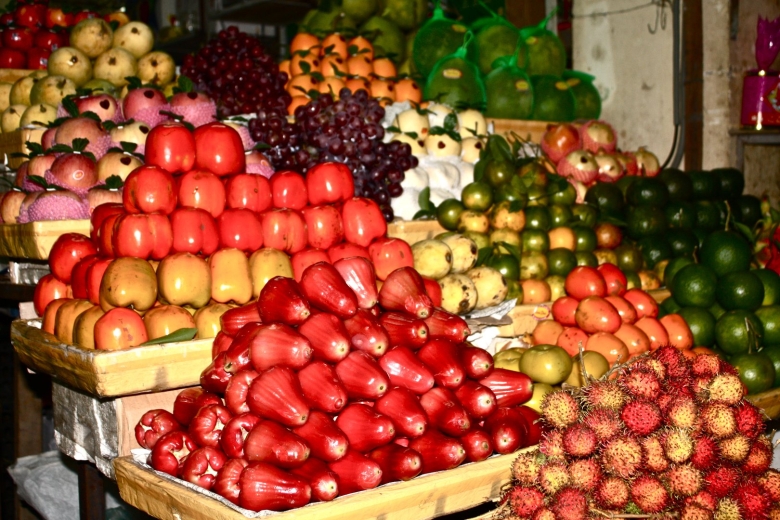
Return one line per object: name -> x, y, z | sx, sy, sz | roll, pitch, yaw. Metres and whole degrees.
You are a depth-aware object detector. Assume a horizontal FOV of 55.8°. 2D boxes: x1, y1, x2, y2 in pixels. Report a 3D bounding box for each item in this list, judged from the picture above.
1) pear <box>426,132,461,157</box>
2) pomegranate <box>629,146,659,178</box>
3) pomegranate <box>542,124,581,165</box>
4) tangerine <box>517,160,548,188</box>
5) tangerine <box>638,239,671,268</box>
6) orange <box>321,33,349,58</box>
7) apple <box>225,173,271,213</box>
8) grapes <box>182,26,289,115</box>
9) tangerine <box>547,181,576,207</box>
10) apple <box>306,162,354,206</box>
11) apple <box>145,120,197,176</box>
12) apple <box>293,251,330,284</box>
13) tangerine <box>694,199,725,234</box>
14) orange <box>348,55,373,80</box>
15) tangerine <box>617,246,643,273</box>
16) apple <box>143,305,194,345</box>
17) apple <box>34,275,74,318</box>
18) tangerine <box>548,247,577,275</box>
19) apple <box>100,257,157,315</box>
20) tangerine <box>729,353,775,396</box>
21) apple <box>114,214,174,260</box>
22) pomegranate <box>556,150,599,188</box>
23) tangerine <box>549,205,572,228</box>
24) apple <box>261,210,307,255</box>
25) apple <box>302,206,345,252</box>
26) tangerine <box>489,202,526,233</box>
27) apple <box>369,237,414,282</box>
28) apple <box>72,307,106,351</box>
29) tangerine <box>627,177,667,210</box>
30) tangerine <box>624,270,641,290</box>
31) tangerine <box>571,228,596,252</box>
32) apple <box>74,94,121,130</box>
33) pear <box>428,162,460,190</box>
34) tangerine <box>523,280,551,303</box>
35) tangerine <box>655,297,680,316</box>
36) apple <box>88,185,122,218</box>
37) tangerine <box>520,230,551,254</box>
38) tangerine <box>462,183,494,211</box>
pear -> 0.299, -0.644, 4.173 | 0.137, 0.114, 0.141 | 17, 6, 40
pomegranate -> 1.569, -0.582, 4.539 | 0.167, 0.219, 0.174 | -14, 0, 13
pomegranate -> 0.999, -0.702, 4.425 | 0.219, 0.259, 0.253 | 4, 40, 5
tangerine -> 0.774, -0.456, 3.953 | 0.141, 0.184, 0.152 | -4, 8, 23
tangerine -> 1.393, -0.017, 3.927 | 0.143, 0.157, 0.154 | 4, -5, -27
orange -> -0.376, -1.405, 4.830 | 0.191, 0.154, 0.286 | 3, 15, 12
apple -> -0.616, -0.287, 3.196 | 0.161, 0.175, 0.169 | -16, -26, 28
grapes -> -0.844, -1.031, 4.021 | 0.540, 0.395, 0.447 | 11, 38, -1
tangerine -> 0.919, -0.355, 3.986 | 0.130, 0.165, 0.137 | -8, 28, 11
apple -> -0.297, -0.351, 3.397 | 0.193, 0.204, 0.200 | -12, -4, -10
apple -> -0.954, -0.465, 3.196 | 0.206, 0.223, 0.209 | -2, -1, -30
apple -> -0.341, 0.042, 3.130 | 0.128, 0.138, 0.134 | -2, -4, -10
tangerine -> 1.795, -0.238, 4.140 | 0.132, 0.157, 0.122 | -40, 37, -28
orange -> -0.197, -1.220, 4.708 | 0.127, 0.159, 0.134 | -32, 24, -1
tangerine -> 1.249, -0.003, 3.830 | 0.123, 0.129, 0.125 | 9, -22, -9
apple -> -0.845, 0.252, 2.923 | 0.151, 0.158, 0.147 | 30, -22, -35
apple -> -1.485, 0.145, 3.284 | 0.160, 0.185, 0.166 | -20, -6, 6
tangerine -> 0.834, 0.008, 3.625 | 0.119, 0.129, 0.149 | 3, 7, 5
apple -> -1.009, 0.113, 2.879 | 0.203, 0.210, 0.187 | 8, -14, -34
tangerine -> 1.659, 0.511, 3.324 | 0.227, 0.164, 0.102 | -2, 15, -6
apple -> -1.022, -0.101, 3.030 | 0.227, 0.233, 0.241 | -1, 15, -28
pomegranate -> 1.164, -0.514, 4.341 | 0.246, 0.240, 0.282 | 0, 9, 6
tangerine -> 0.881, -0.225, 3.823 | 0.106, 0.139, 0.112 | 1, -2, 19
apple -> -0.453, -0.111, 3.145 | 0.175, 0.175, 0.171 | -1, 0, -28
apple -> -0.289, -0.134, 3.311 | 0.164, 0.212, 0.174 | -4, -14, -19
tangerine -> 0.584, -0.210, 3.686 | 0.166, 0.152, 0.151 | 12, 39, -5
apple -> 0.002, -0.016, 3.173 | 0.168, 0.181, 0.172 | -10, 3, -3
apple -> -1.175, 0.272, 2.852 | 0.134, 0.190, 0.134 | 7, -5, -15
tangerine -> 1.421, -0.375, 4.089 | 0.169, 0.192, 0.187 | 28, 21, 25
tangerine -> 1.217, 0.103, 3.683 | 0.089, 0.118, 0.094 | -1, 14, 22
tangerine -> 0.988, -0.105, 3.805 | 0.107, 0.140, 0.113 | 0, 7, 5
apple -> -1.645, -0.855, 4.159 | 0.246, 0.264, 0.236 | -8, 15, -28
pear -> 0.289, -0.463, 4.050 | 0.202, 0.135, 0.125 | -4, 15, -13
tangerine -> 0.688, 0.156, 3.475 | 0.109, 0.110, 0.106 | 9, -23, -36
tangerine -> 1.356, 0.228, 3.588 | 0.084, 0.110, 0.089 | 5, 7, 18
apple -> -1.378, -0.292, 3.525 | 0.173, 0.172, 0.172 | -4, 21, -26
tangerine -> 0.720, -0.078, 3.651 | 0.113, 0.117, 0.110 | 1, -5, -37
tangerine -> 0.446, -0.314, 3.787 | 0.133, 0.170, 0.140 | -4, 4, 5
